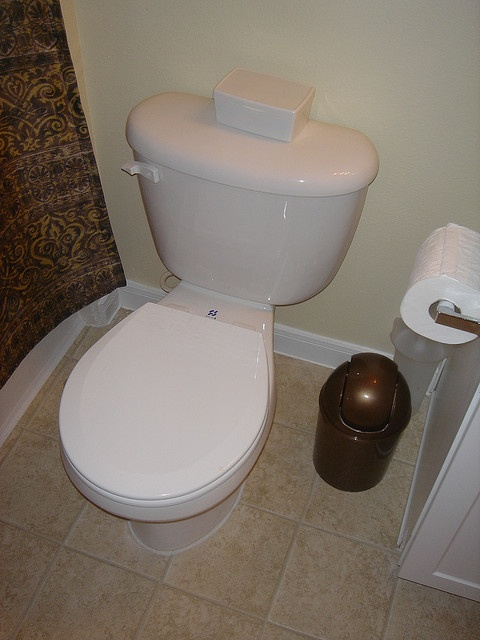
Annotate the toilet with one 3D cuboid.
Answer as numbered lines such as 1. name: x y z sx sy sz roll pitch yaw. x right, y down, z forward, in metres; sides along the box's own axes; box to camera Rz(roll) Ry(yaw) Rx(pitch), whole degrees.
1. toilet: -0.082 0.077 0.979 0.421 0.719 0.670 16 45 11
